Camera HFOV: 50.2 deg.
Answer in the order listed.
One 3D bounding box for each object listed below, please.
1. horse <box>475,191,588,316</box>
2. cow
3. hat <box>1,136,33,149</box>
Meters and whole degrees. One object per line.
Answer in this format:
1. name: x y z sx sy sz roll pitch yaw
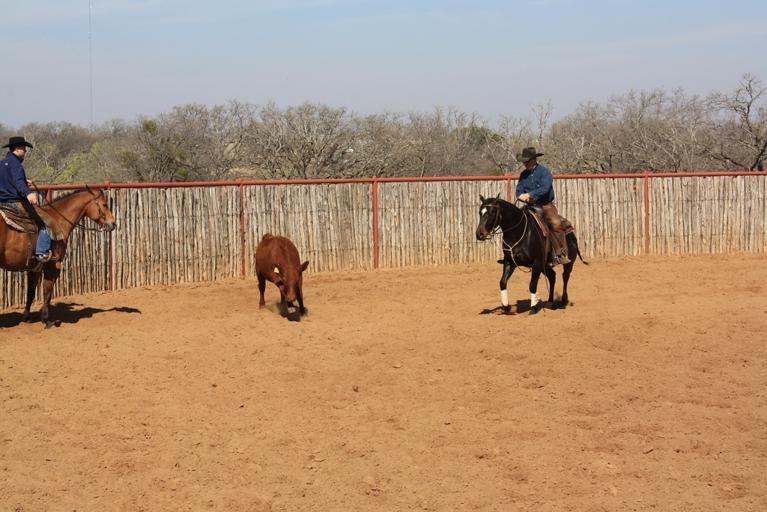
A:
1. horse: 2.879 -0.008 16.816 2.569 2.404 0.790 -5 7 -44
2. cow: -2.139 0.419 17.038 0.855 1.546 1.865 -2 5 -15
3. hat: -7.084 -2.199 15.877 0.383 0.232 0.456 4 6 37
